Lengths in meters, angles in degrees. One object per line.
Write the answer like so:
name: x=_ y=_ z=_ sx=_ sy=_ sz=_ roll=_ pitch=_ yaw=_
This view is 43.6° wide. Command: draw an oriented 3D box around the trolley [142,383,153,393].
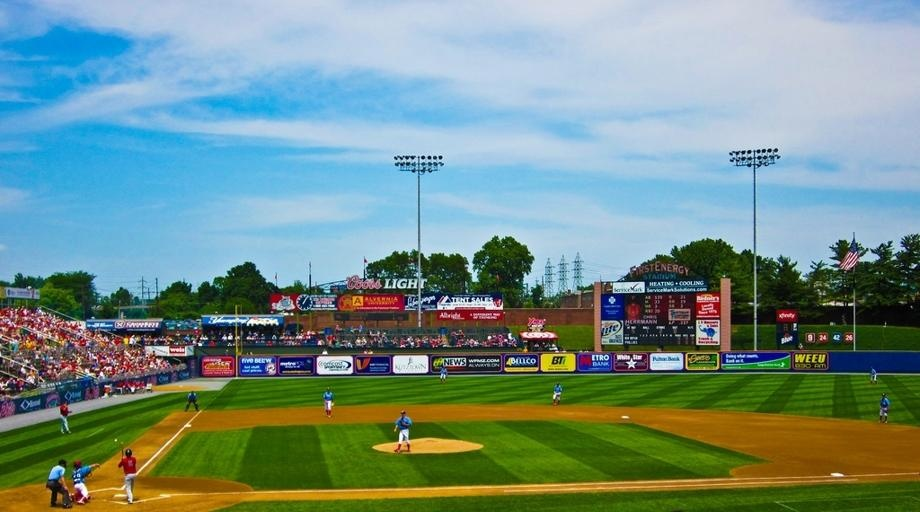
trolley: x=-40.449 y=17.152 z=149.445 sx=0.875 sy=1.038 sz=1.065 roll=-1 pitch=-14 yaw=-10
